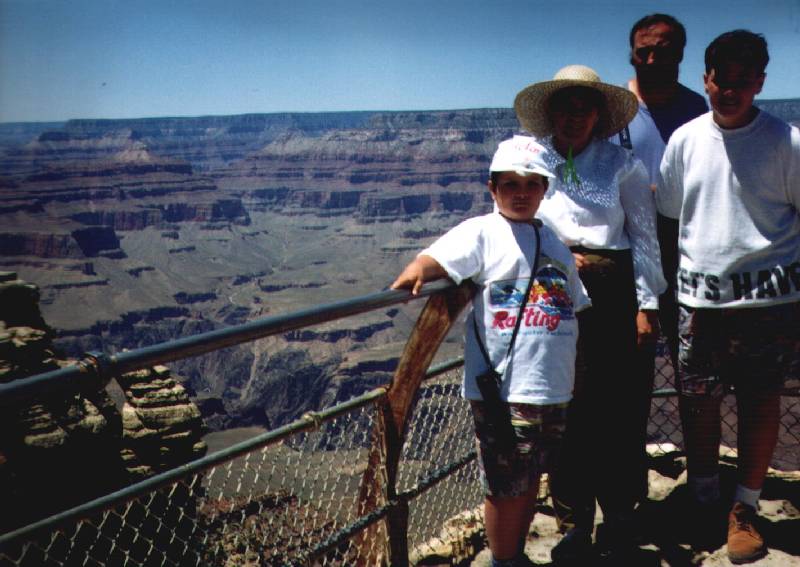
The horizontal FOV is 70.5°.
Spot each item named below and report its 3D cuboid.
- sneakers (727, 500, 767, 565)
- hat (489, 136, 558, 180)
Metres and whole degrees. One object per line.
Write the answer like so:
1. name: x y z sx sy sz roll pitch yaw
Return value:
1. sneakers: 1.583 1.158 2.606 0.124 0.131 0.332 -10 21 26
2. hat: 0.553 -0.567 2.597 0.215 0.151 0.282 8 -10 5
